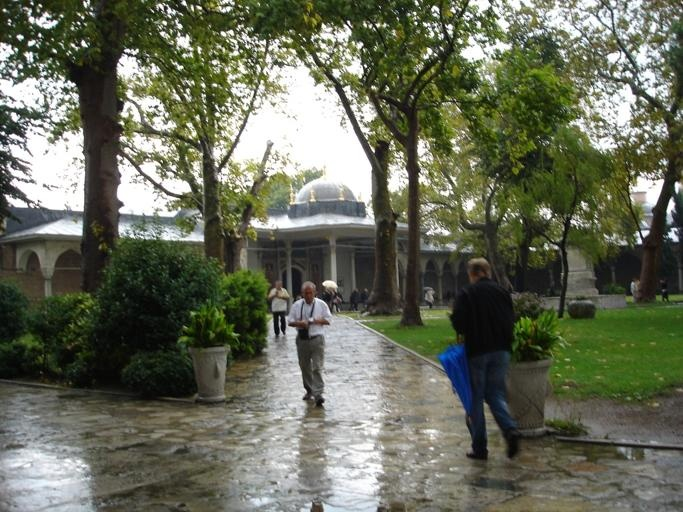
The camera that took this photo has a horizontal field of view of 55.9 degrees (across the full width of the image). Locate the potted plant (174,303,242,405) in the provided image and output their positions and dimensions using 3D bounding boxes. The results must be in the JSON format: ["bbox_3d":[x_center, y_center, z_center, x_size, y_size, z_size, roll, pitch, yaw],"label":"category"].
[{"bbox_3d":[-2.542,1.790,12.257,1.002,1.855,1.056,0,-5,-13],"label":"potted plant"}]

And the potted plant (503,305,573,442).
[{"bbox_3d":[2.601,1.803,9.482,1.079,1.624,1.075,-1,-3,-34],"label":"potted plant"}]

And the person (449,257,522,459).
[{"bbox_3d":[1.885,1.333,8.486,0.802,2.663,0.484,-1,-4,13],"label":"person"}]

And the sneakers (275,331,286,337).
[{"bbox_3d":[-2.159,2.743,22.395,0.448,0.210,0.141,-27,-8,39],"label":"sneakers"}]

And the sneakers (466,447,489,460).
[{"bbox_3d":[1.776,2.604,8.498,0.117,0.135,0.268,3,-1,-33],"label":"sneakers"}]

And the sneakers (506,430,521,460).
[{"bbox_3d":[2.181,2.384,8.197,0.123,0.437,0.172,1,6,7],"label":"sneakers"}]

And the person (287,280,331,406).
[{"bbox_3d":[-0.600,1.592,11.876,0.757,2.194,0.806,-2,-4,15],"label":"person"}]

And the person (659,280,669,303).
[{"bbox_3d":[19.749,2.155,39.396,0.265,1.295,0.620,-6,2,20],"label":"person"}]

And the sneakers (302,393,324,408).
[{"bbox_3d":[-0.500,2.596,11.650,0.170,0.255,0.505,3,-9,-42],"label":"sneakers"}]
